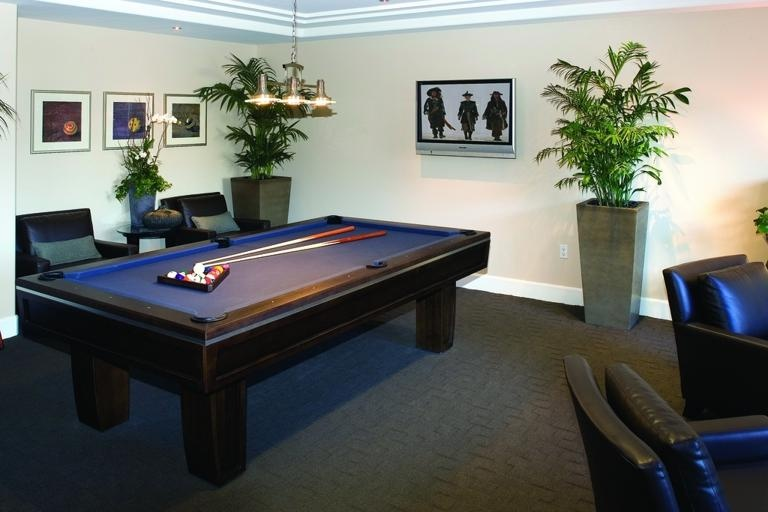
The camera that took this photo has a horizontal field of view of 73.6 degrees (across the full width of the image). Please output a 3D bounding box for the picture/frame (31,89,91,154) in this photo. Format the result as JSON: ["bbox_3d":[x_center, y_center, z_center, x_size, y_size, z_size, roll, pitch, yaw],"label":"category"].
[{"bbox_3d":[-3.623,-1.503,5.676,0.050,0.735,0.702,11,15,32],"label":"picture/frame"}]

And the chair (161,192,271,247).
[{"bbox_3d":[-2.295,-0.429,6.798,1.080,1.155,0.998,6,12,35],"label":"chair"}]

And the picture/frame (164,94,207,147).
[{"bbox_3d":[-2.670,-1.808,6.793,0.039,0.678,0.742,-1,-3,27],"label":"picture/frame"}]

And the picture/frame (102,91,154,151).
[{"bbox_3d":[-3.145,-1.639,6.217,0.070,0.695,0.693,15,21,36],"label":"picture/frame"}]

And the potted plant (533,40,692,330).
[{"bbox_3d":[2.403,-0.747,5.377,1.258,2.962,1.150,4,12,28],"label":"potted plant"}]
